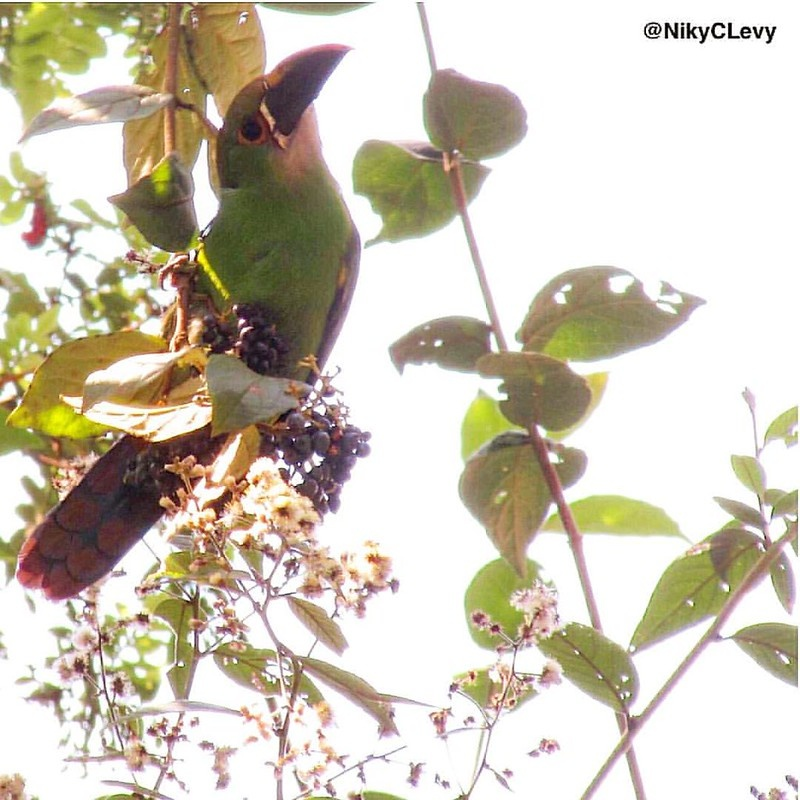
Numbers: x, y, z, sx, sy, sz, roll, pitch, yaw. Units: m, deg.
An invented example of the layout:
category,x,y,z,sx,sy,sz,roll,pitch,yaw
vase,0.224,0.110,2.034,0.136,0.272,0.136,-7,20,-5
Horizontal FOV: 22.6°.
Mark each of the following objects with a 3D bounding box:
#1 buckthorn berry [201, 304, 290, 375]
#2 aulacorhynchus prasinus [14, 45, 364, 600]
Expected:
category,x,y,z,sx,sy,sz,roll,pitch,yaw
buckthorn berry,-0.096,-0.038,1.258,0.054,0.028,0.039,21,-62,9
aulacorhynchus prasinus,-0.108,-0.042,1.252,0.126,0.256,0.311,25,-55,-2
